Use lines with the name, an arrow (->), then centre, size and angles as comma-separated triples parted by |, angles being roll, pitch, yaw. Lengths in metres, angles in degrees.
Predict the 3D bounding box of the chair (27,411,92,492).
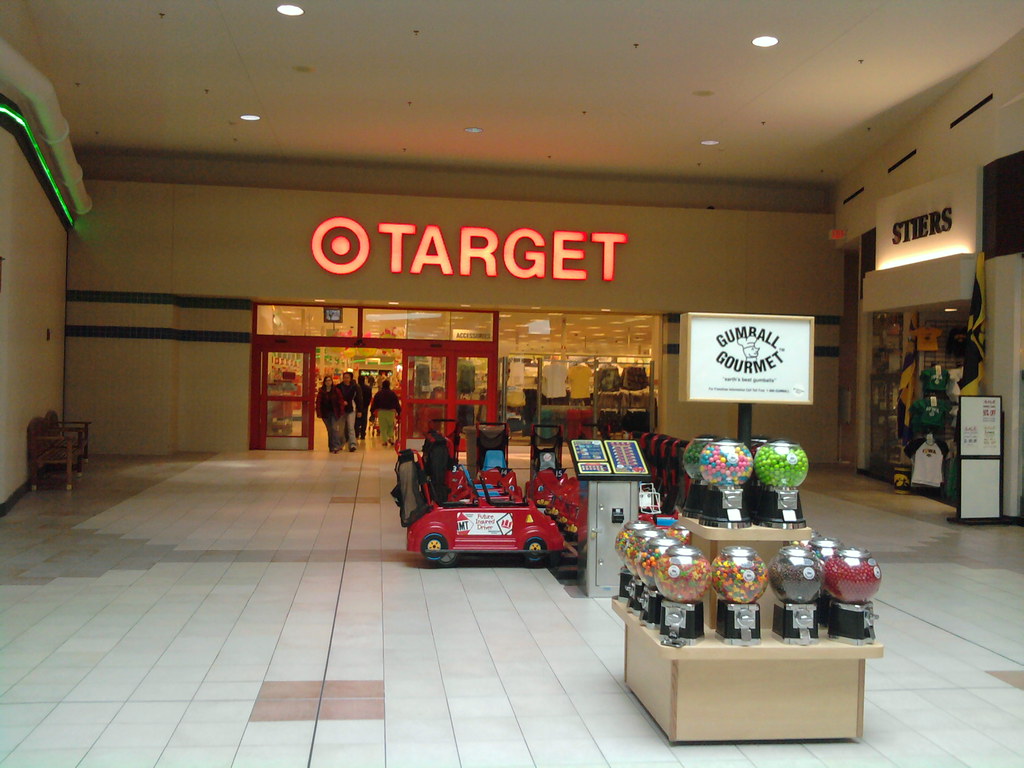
chair -> -6.754, 0.933, 11.483 | 0.564, 0.879, 1.825 | 1, 1, -25

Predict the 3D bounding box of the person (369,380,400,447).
person -> -2.743, 0.622, 16.771 | 0.579, 1.362, 0.618 | 1, 0, -19

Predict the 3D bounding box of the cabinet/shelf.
cabinet/shelf -> 1.237, 1.177, 4.267 | 1.104, 1.037, 1.154 | 0, 0, -4
